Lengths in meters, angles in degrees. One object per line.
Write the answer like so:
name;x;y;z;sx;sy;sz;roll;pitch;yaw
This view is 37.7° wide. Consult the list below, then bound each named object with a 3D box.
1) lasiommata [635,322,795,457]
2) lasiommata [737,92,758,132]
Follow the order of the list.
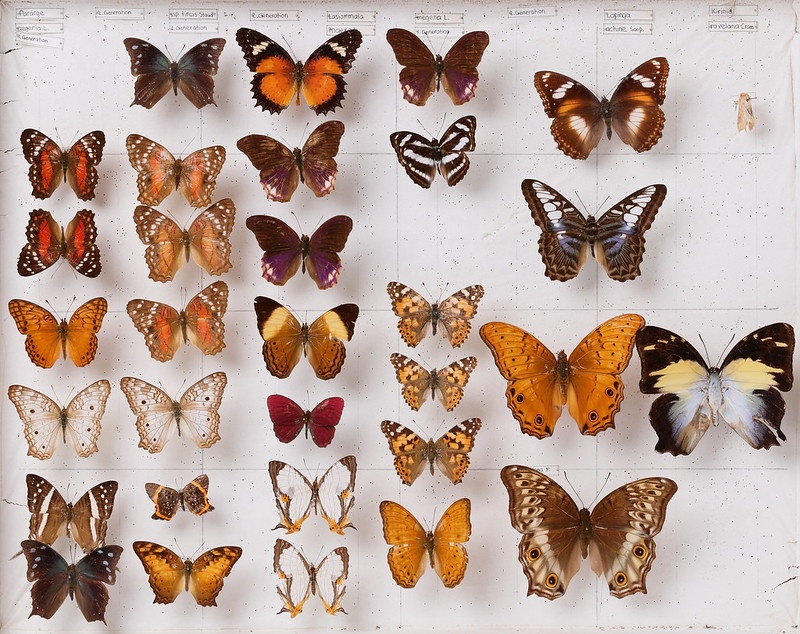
lasiommata;1.602;0.392;5.988;0.503;0.065;0.565;-1;-91;-1
lasiommata;1.803;-1.071;6.123;0.102;0.069;0.190;-3;-97;19
